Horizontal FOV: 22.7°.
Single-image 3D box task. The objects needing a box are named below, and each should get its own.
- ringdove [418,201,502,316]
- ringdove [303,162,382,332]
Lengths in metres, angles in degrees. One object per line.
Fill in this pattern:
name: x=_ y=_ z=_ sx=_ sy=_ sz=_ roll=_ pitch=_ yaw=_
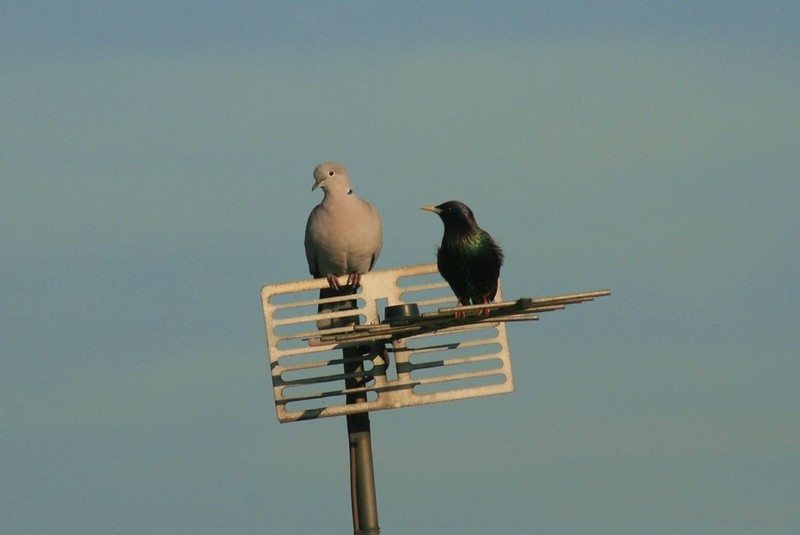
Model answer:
ringdove: x=0.758 y=-0.237 z=22.771 sx=0.740 sy=1.285 sz=0.390 roll=-13 pitch=-1 yaw=-1
ringdove: x=-0.724 y=-0.364 z=23.504 sx=0.979 sy=1.981 sz=0.865 roll=-12 pitch=-1 yaw=-1
